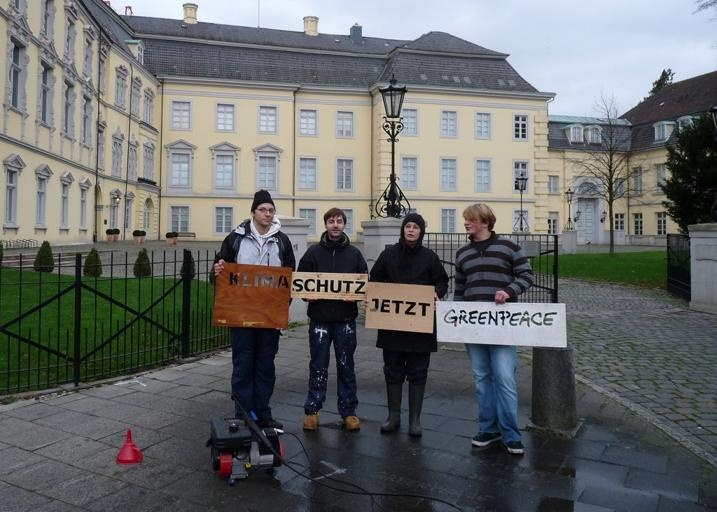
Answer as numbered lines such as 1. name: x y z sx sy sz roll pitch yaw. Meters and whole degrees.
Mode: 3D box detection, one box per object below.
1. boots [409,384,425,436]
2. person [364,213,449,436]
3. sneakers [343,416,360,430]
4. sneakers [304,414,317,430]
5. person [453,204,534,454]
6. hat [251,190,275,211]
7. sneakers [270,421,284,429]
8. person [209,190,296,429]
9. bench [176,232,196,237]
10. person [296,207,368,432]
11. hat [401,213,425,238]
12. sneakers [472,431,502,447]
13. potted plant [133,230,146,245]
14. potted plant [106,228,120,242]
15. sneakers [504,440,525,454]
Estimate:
1. boots: 0.716 1.889 8.060 0.173 0.618 0.350 2 8 5
2. person: 0.625 0.819 8.137 0.948 2.712 0.743 2 8 8
3. sneakers: -0.090 2.088 8.143 0.227 0.154 0.154 2 8 5
4. sneakers: -0.600 2.069 8.163 0.198 0.168 0.241 1 8 -5
5. person: 1.628 0.828 7.858 1.060 2.882 0.685 6 9 32
6. hat: -1.227 -0.705 8.173 0.252 0.292 0.325 0 -5 -25
7. sneakers: -1.017 2.083 8.027 0.148 0.053 0.089 24 5 43
8. person: -1.297 0.660 8.078 0.940 2.927 0.921 1 8 -5
9. bench: -10.858 -1.346 40.842 1.028 0.297 0.401 -1 9 -16
10. person: -0.332 0.762 8.285 0.857 2.732 0.826 1 8 -3
11. hat: 0.722 -0.391 8.058 0.260 0.386 0.312 5 -1 9
12. sneakers: 1.528 2.195 7.830 0.421 0.191 0.144 3 -6 -21
13. potted plant: -11.675 -1.013 34.459 0.768 0.814 0.683 0 -3 -11
14. potted plant: -13.036 -1.138 34.313 0.885 0.874 0.578 1 6 -9
15. sneakers: 1.852 2.252 7.652 0.232 0.147 0.152 4 8 16
